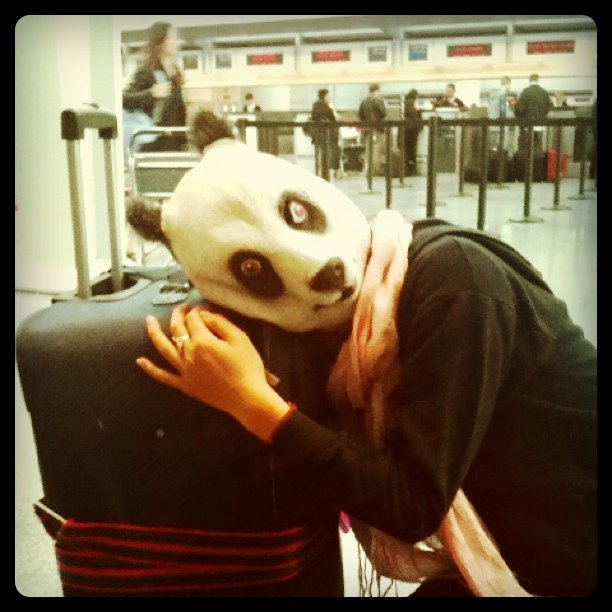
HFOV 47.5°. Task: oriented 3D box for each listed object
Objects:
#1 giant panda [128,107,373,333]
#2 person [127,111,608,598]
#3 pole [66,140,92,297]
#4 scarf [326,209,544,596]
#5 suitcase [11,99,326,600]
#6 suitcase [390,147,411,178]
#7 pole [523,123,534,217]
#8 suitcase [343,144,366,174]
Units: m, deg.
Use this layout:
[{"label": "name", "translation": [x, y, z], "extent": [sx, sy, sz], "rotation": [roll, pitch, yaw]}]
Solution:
[{"label": "giant panda", "translation": [-0.103, -0.188, 1.721], "extent": [0.534, 0.388, 0.215], "rotation": [36, 3, 6]}, {"label": "person", "translation": [0.223, 0.230, 1.796], "extent": [1.255, 1.268, 0.483], "rotation": [-3, 12, -9]}, {"label": "pole", "translation": [-0.658, -0.309, 1.993], "extent": [0.076, 0.557, 0.086], "rotation": [1, -30, -26]}, {"label": "scarf", "translation": [0.305, 0.283, 1.773], "extent": [0.509, 1.033, 0.280], "rotation": [-1, 12, 1]}, {"label": "suitcase", "translation": [-0.393, -0.117, 2.910], "extent": [1.174, 2.358, 1.336], "rotation": [0, 15, 1]}, {"label": "suitcase", "translation": [0.294, -0.461, 2.243], "extent": [0.060, 0.096, 0.151], "rotation": [6, 14, 31]}, {"label": "pole", "translation": [0.683, -0.416, 2.151], "extent": [0.034, 0.343, 0.033], "rotation": [3, -18, 8]}, {"label": "suitcase", "translation": [0.143, -0.445, 2.133], "extent": [0.052, 0.101, 0.105], "rotation": [2, 14, 19]}]
